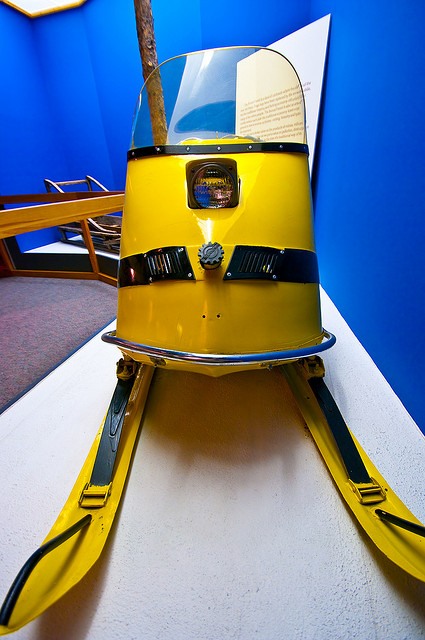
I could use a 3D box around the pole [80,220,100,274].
[{"bbox_3d":[-0.953,-0.574,3.097,0.057,0.453,0.065,-17,-9,-6],"label":"pole"}]
